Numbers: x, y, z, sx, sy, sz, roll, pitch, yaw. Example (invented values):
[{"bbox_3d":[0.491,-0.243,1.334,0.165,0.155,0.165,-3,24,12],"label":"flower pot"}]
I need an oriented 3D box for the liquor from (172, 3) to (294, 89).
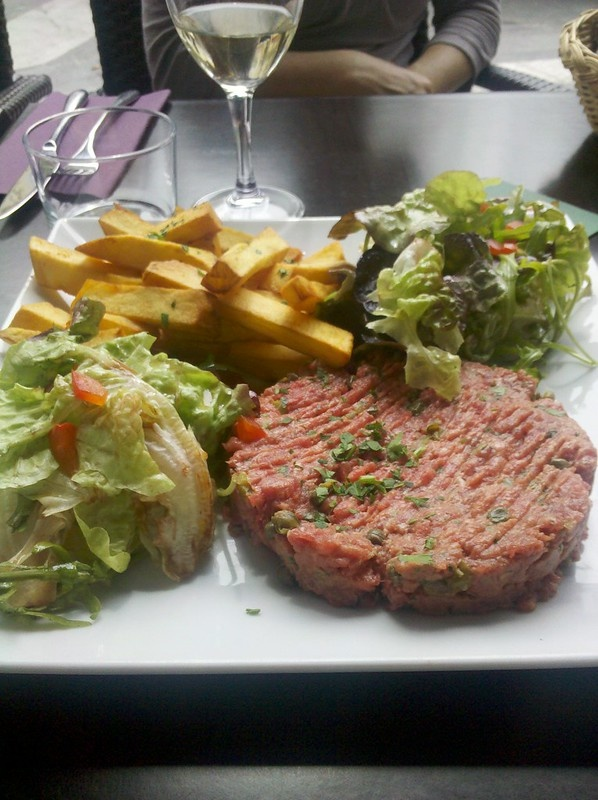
[{"bbox_3d":[-0.186,-1.053,2.283,0.296,0.269,0.247,-2,37,-1],"label":"liquor"}]
